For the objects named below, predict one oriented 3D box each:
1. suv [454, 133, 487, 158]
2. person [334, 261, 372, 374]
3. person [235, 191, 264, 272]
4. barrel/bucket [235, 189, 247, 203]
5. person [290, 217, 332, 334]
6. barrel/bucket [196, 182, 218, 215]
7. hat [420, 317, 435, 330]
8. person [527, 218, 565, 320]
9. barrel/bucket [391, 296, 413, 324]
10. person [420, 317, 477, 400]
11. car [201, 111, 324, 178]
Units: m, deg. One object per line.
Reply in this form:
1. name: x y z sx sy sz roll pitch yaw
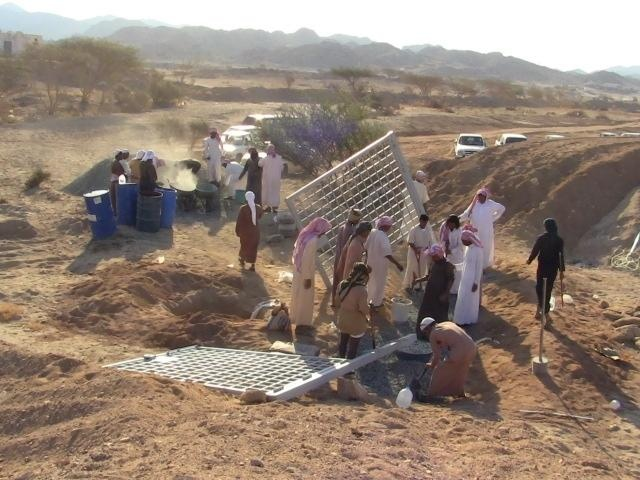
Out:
1. suv: 5.681 -3.595 21.970 0.927 0.772 1.898 -1 9 6
2. person: 0.444 1.035 8.205 0.472 1.557 0.484 3 17 2
3. person: -1.455 -0.213 11.517 0.471 1.655 1.083 0 17 -6
4. barrel/bucket: -2.219 -1.211 15.892 0.329 0.373 0.397 -3 21 -9
5. person: -0.199 0.562 9.025 0.558 1.883 0.325 1 18 -4
6. barrel/bucket: -3.076 -1.082 15.297 0.661 0.509 0.681 21 23 -10
7. hat: 1.433 1.149 7.958 0.251 0.203 0.176 7 1 7
8. person: 3.692 0.463 9.474 0.571 1.567 0.544 13 20 32
9. barrel/bucket: 1.330 1.200 9.835 0.419 0.293 0.366 -2 15 -9
10. person: 1.772 1.710 8.085 0.805 1.112 0.502 24 48 36
11. car: -1.781 -3.511 20.697 3.826 1.619 2.135 7 27 -6
